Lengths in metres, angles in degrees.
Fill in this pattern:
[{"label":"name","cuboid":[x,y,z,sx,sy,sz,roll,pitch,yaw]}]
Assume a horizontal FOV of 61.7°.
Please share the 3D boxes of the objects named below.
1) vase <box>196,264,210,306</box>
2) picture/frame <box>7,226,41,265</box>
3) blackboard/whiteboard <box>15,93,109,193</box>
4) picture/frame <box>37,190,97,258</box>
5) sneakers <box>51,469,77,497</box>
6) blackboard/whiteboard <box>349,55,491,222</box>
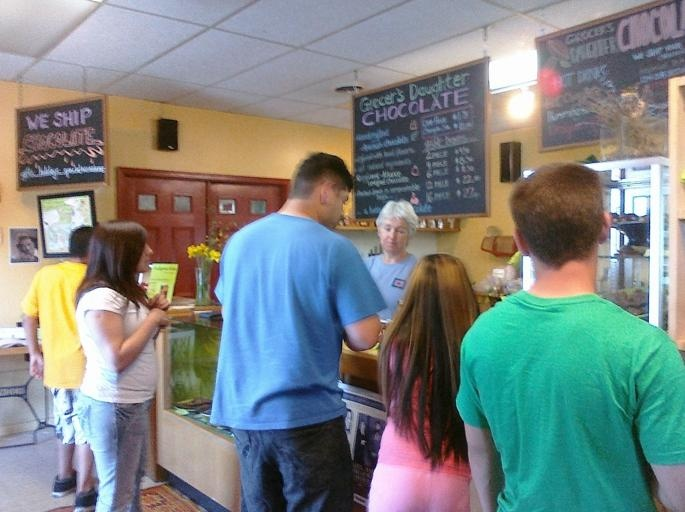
[{"label":"vase","cuboid":[-1.017,0.195,4.186,0.111,0.336,0.085,-4,4,-16]},{"label":"picture/frame","cuboid":[-2.855,-0.101,5.121,0.037,0.484,0.343,1,0,41]},{"label":"blackboard/whiteboard","cuboid":[-2.321,-0.926,4.744,0.858,0.633,0.039,3,6,23]},{"label":"picture/frame","cuboid":[-2.296,-0.287,4.775,0.577,0.651,0.049,-4,6,-6]},{"label":"sneakers","cuboid":[-1.864,1.543,3.884,0.080,0.083,0.196,1,2,10]},{"label":"blackboard/whiteboard","cuboid":[0.515,-0.743,3.730,0.046,1.092,1.305,-3,5,-38]}]
